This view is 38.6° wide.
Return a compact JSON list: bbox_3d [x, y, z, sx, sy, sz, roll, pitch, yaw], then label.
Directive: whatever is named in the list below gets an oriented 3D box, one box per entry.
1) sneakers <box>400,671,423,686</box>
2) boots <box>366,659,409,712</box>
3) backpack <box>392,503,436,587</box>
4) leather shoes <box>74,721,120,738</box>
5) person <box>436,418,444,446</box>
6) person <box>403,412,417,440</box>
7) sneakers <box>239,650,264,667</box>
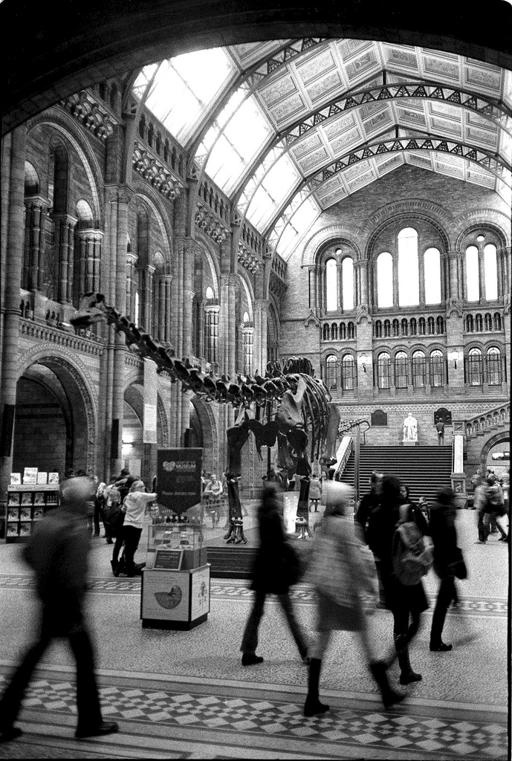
[{"bbox_3d":[0.997,1.904,4.765,0.070,0.099,0.147,2,6,44],"label":"sneakers"},{"bbox_3d":[0.751,1.722,4.215,0.153,0.337,0.466,-1,-5,17],"label":"boots"},{"bbox_3d":[1.034,1.114,4.894,0.243,0.519,0.486,0,-5,10],"label":"backpack"},{"bbox_3d":[-0.810,1.786,3.769,0.238,0.091,0.077,1,-1,-8],"label":"leather shoes"},{"bbox_3d":[7.150,2.029,28.736,0.254,0.909,1.001,0,-5,10],"label":"person"},{"bbox_3d":[6.461,2.056,30.904,0.517,1.108,0.748,-1,-5,14],"label":"person"},{"bbox_3d":[-0.041,1.962,5.189,0.185,0.125,0.066,-1,-4,-11],"label":"sneakers"}]
